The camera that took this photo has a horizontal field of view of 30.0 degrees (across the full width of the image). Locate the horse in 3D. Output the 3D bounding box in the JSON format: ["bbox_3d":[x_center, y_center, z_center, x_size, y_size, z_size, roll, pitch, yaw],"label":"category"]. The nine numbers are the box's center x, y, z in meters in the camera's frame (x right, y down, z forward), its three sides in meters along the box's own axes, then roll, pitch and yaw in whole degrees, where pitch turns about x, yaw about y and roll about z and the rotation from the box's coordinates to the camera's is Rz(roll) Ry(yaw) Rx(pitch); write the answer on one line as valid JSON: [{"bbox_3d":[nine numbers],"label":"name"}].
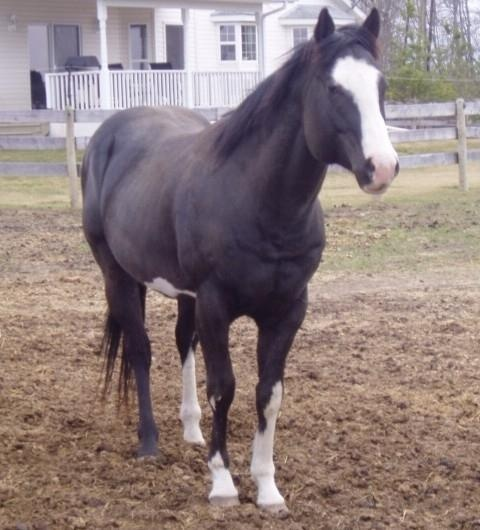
[{"bbox_3d":[-0.045,-0.043,4.817,0.766,2.476,2.199,-6,10,-35],"label":"horse"}]
